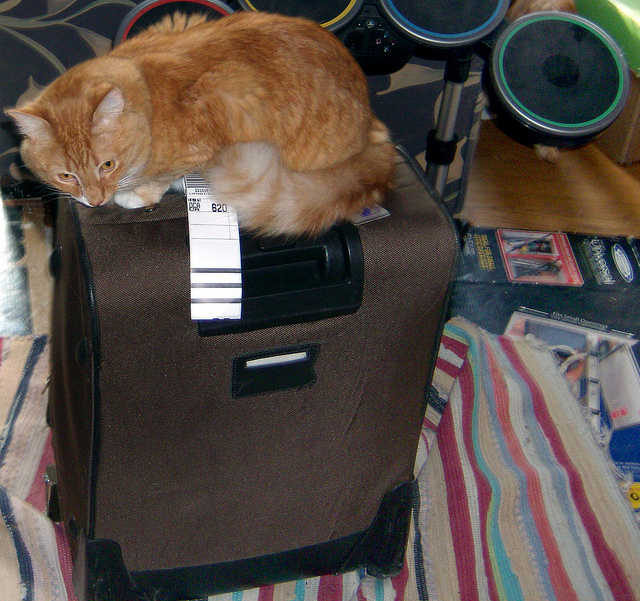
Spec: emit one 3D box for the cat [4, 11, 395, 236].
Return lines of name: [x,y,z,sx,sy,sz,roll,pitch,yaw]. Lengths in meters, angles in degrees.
cat: [-0.172,-0.205,1.063,0.480,0.365,0.443,-5,41,-8]

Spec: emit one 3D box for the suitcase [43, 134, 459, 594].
suitcase: [-0.088,0.150,0.990,0.573,0.680,0.257,-6,32,-21]

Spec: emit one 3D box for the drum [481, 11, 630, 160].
drum: [0.385,-0.357,1.110,0.230,0.212,0.150,12,30,10]
